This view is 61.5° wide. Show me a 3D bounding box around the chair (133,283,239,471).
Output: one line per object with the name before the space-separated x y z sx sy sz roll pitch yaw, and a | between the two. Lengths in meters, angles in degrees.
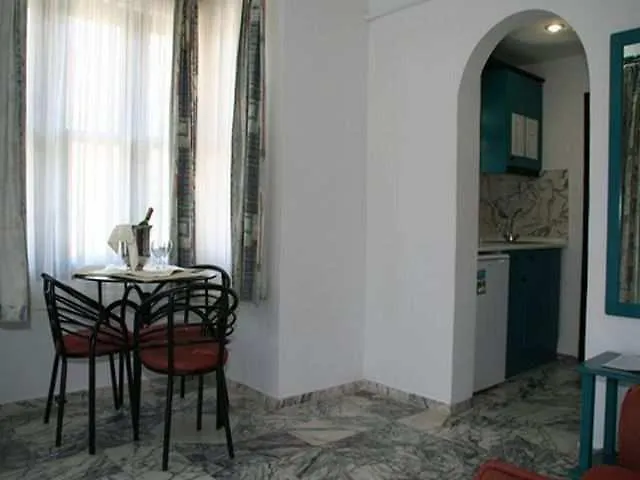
chair | -0.823 0.747 3.276 0.683 1.055 0.687 4 5 16

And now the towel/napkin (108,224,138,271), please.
towel/napkin | -1.258 0.047 3.461 0.238 0.349 0.142 6 -15 -26

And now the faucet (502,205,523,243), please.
faucet | 1.896 -0.147 5.311 0.151 0.334 0.126 -4 10 -31

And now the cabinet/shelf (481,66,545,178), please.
cabinet/shelf | 1.714 -1.068 4.848 0.386 1.032 0.960 -2 -4 40

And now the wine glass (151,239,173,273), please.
wine glass | -1.014 0.114 3.556 0.180 0.276 0.164 1 2 -9

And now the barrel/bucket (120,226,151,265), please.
barrel/bucket | -1.148 0.033 3.421 0.207 0.288 0.254 1 -3 -20

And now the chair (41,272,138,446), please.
chair | -1.499 0.674 3.442 0.523 1.004 1.009 -3 10 -23
